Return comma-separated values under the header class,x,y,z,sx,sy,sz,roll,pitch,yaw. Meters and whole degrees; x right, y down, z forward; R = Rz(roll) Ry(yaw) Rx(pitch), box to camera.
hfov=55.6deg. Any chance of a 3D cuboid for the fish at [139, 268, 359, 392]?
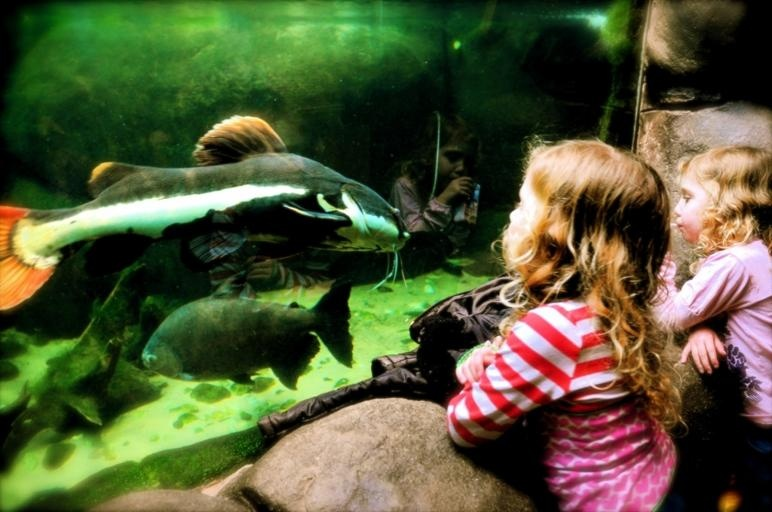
class,x,y,z,sx,sy,sz,roll,pitch,yaw
fish,-0.634,0.251,3.758,1.350,0.682,0.373,-7,25,-22
